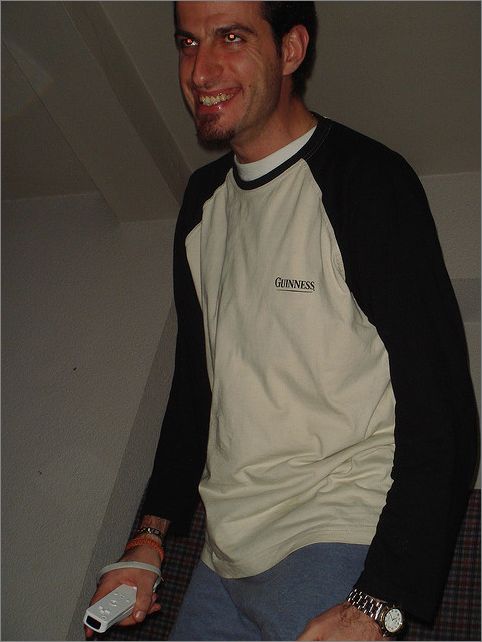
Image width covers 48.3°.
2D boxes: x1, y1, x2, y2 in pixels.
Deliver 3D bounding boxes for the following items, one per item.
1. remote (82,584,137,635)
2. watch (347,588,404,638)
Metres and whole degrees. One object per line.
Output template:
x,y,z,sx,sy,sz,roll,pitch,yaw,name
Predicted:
-0.200,0.427,0.829,0.045,0.025,0.105,7,6,19,remote
0.161,0.342,0.629,0.055,0.062,0.039,13,76,58,watch
